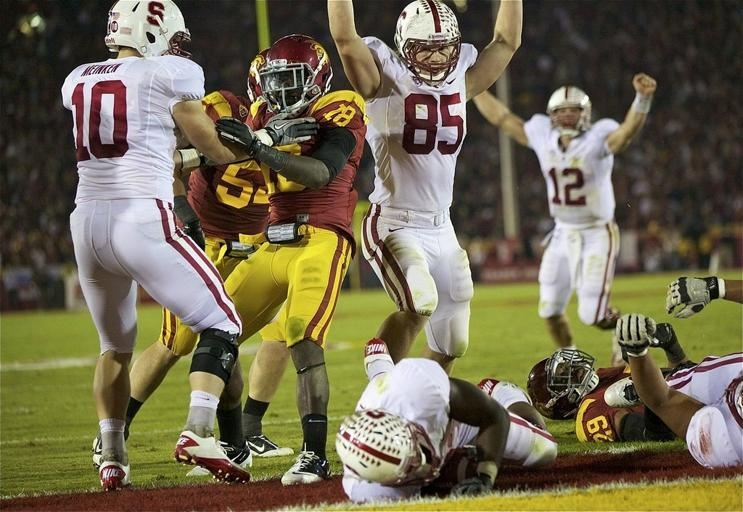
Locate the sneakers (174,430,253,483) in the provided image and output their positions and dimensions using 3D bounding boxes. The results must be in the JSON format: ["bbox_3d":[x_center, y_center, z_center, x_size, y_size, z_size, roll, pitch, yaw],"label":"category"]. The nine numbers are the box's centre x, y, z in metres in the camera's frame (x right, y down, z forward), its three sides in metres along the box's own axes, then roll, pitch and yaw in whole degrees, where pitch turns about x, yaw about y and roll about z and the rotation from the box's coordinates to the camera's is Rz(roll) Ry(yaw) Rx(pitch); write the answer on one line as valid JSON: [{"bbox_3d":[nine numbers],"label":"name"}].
[{"bbox_3d":[-0.966,1.243,5.731,0.383,0.190,0.133,36,-44,-21],"label":"sneakers"}]

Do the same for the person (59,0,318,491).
[{"bbox_3d":[-1.317,-0.057,5.743,1.162,3.017,0.622,4,7,24],"label":"person"}]

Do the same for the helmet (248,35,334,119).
[{"bbox_3d":[-0.489,-1.151,6.110,0.417,0.465,0.524,-2,4,31],"label":"helmet"}]

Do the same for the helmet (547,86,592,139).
[{"bbox_3d":[1.743,-1.268,8.326,0.336,0.443,0.443,-2,-37,9],"label":"helmet"}]

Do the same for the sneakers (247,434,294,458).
[{"bbox_3d":[-0.663,1.302,6.375,0.349,0.147,0.129,1,-5,-3],"label":"sneakers"}]

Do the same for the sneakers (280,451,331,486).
[{"bbox_3d":[-0.400,1.287,5.646,0.156,0.142,0.284,-10,-12,42],"label":"sneakers"}]

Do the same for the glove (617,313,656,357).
[{"bbox_3d":[1.526,0.464,5.496,0.216,0.258,0.257,3,7,16],"label":"glove"}]

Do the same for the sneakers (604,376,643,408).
[{"bbox_3d":[1.608,0.890,6.005,0.111,0.156,0.251,-14,-11,-21],"label":"sneakers"}]

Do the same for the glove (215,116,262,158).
[{"bbox_3d":[-0.813,-0.723,5.657,0.213,0.123,0.383,27,5,36],"label":"glove"}]

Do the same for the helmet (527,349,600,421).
[{"bbox_3d":[1.295,0.893,6.473,0.438,0.481,0.554,-9,0,-43],"label":"helmet"}]

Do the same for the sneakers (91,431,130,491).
[{"bbox_3d":[-1.578,1.301,5.712,0.155,0.201,0.427,-1,-6,-18],"label":"sneakers"}]

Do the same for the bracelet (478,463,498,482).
[{"bbox_3d":[0.648,1.223,5.300,0.108,0.092,0.102,4,-4,-1],"label":"bracelet"}]

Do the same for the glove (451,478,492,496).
[{"bbox_3d":[0.555,1.305,5.256,0.139,0.056,0.112,0,-1,0],"label":"glove"}]

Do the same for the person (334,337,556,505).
[{"bbox_3d":[0.425,0.957,5.420,0.692,0.569,1.181,-11,-9,42],"label":"person"}]

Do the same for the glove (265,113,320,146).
[{"bbox_3d":[-0.505,-0.770,5.780,0.261,0.116,0.159,-6,12,-30],"label":"glove"}]
